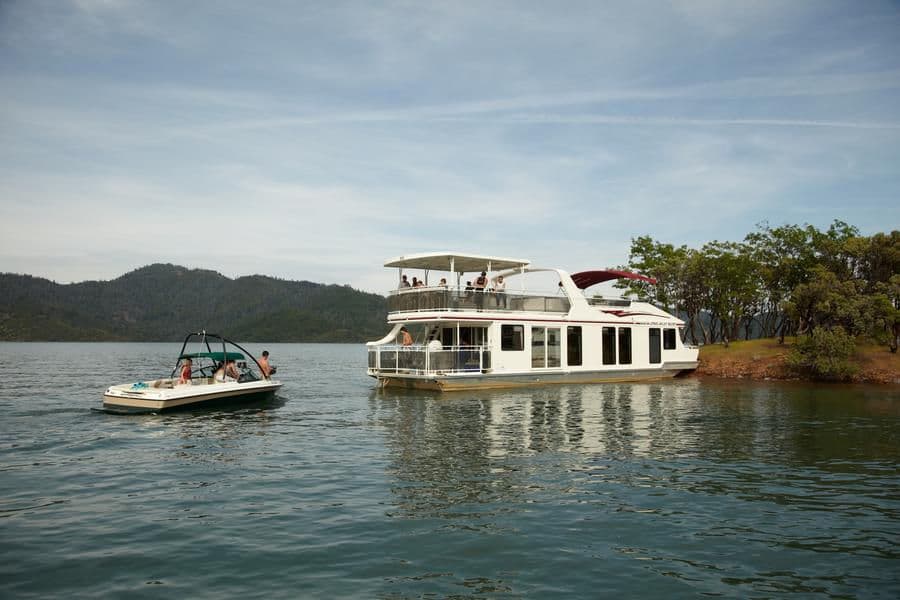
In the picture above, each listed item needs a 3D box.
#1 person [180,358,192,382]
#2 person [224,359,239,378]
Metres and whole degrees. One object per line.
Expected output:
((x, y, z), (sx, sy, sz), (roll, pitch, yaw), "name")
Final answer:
((-12.358, 3.273, 34.045), (0.384, 0.966, 1.202), (-3, 6, -12), "person")
((-10.661, 3.415, 35.730), (0.870, 0.802, 0.380), (5, 7, 8), "person")
